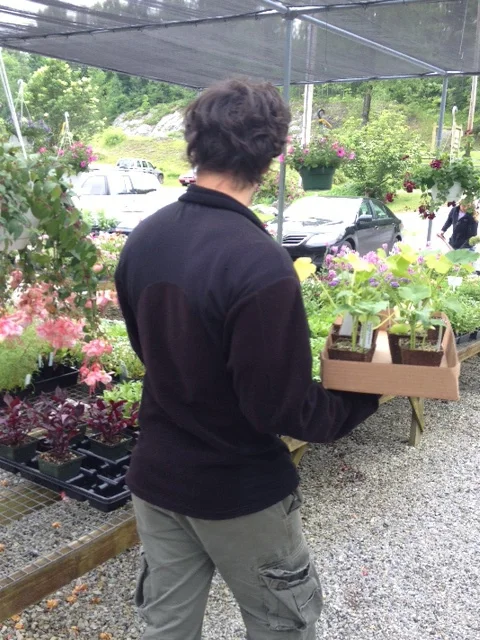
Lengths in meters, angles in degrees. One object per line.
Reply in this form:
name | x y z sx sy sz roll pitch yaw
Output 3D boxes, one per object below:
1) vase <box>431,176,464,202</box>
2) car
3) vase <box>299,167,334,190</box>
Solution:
vase | 2.309 -1.428 5.746 0.256 0.217 0.247 -9 10 -40
car | 0.518 -2.092 10.151 2.934 1.841 5.939 5 9 12
vase | 1.017 -1.840 6.888 0.347 0.188 0.318 -2 8 -4
